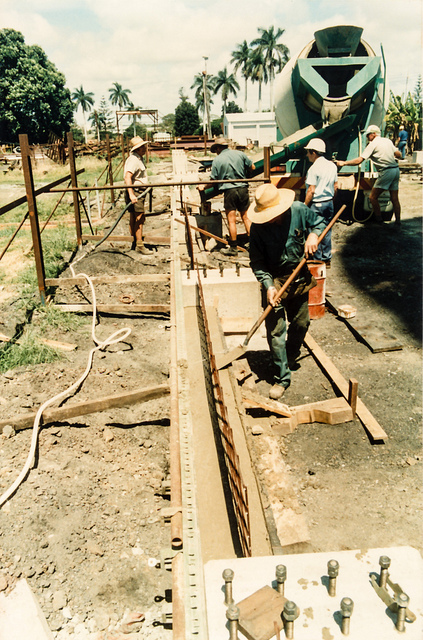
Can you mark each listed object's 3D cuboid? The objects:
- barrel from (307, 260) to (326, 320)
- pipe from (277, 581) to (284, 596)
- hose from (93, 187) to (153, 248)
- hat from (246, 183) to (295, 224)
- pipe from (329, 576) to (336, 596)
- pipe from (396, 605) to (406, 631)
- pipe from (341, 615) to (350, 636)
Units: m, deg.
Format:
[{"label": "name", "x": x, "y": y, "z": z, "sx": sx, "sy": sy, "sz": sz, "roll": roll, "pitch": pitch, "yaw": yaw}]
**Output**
[{"label": "barrel", "x": 1.179, "y": -0.305, "z": 5.413, "sx": 0.216, "sy": 0.643, "sz": 0.756, "roll": -8, "pitch": 4, "yaw": 12}, {"label": "pipe", "x": 0.191, "y": 0.749, "z": 1.341, "sx": 0.018, "sy": 0.025, "sz": 0.024, "roll": -8, "pitch": 4, "yaw": 7}, {"label": "hose", "x": -1.456, "y": -1.569, "z": 7.565, "sx": 1.200, "sy": 0.303, "sz": 0.295, "roll": -43, "pitch": 56, "yaw": 8}, {"label": "hat", "x": 0.438, "y": -0.950, "z": 3.763, "sx": 0.386, "sy": 0.168, "sz": 0.419, "roll": -6, "pitch": 33, "yaw": 27}, {"label": "pipe", "x": 0.332, "y": 0.732, "z": 1.326, "sx": 0.022, "sy": 0.060, "sz": 0.028, "roll": -8, "pitch": 4, "yaw": 10}, {"label": "pipe", "x": 0.475, "y": 0.748, "z": 1.207, "sx": 0.027, "sy": 0.062, "sz": 0.022, "roll": -8, "pitch": 4, "yaw": 12}, {"label": "pipe", "x": 0.340, "y": 0.771, "z": 1.223, "sx": 0.020, "sy": 0.046, "sz": 0.038, "roll": -7, "pitch": 4, "yaw": 19}]
